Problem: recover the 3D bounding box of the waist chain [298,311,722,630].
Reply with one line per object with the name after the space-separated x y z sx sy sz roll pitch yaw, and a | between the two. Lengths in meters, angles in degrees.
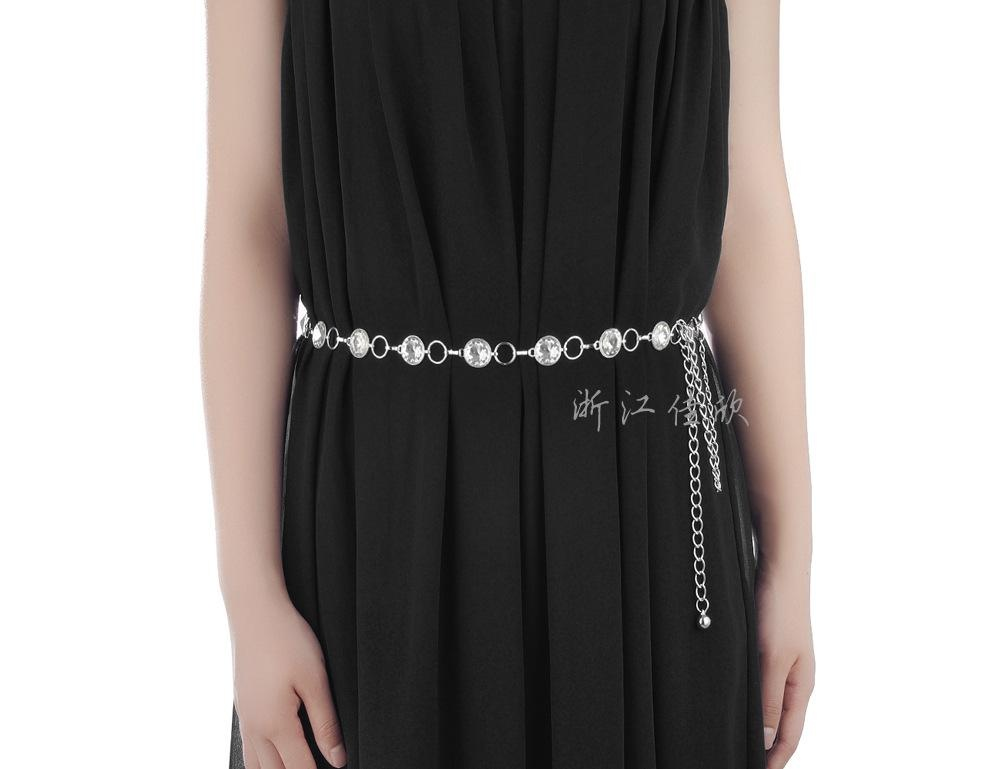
0.016 0.159 1.928 0.568 0.421 0.028 3 -34 -6 | waist chain
